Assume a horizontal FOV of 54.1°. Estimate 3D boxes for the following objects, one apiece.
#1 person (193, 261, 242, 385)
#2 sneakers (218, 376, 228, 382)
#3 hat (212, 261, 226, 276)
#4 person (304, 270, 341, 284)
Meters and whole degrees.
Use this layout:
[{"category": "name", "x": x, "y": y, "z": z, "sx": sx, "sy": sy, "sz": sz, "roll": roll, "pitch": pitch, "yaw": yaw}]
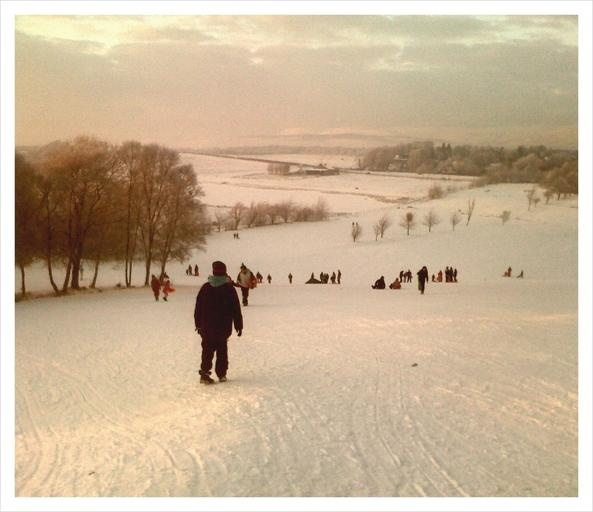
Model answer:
[{"category": "person", "x": -1.852, "y": 1.625, "z": 13.605, "sx": 1.062, "sy": 2.941, "sz": 0.660, "roll": -3, "pitch": 13, "yaw": -12}, {"category": "sneakers", "x": -1.779, "y": 2.938, "z": 13.905, "sx": 0.123, "sy": 0.113, "sz": 0.137, "roll": 1, "pitch": -5, "yaw": -2}, {"category": "hat", "x": -1.829, "y": 0.283, "z": 13.602, "sx": 0.239, "sy": 0.356, "sz": 0.351, "roll": 3, "pitch": 12, "yaw": 8}, {"category": "person", "x": 2.620, "y": 2.137, "z": 58.738, "sx": 2.368, "sy": 1.153, "sz": 0.783, "roll": -6, "pitch": 13, "yaw": -18}]
